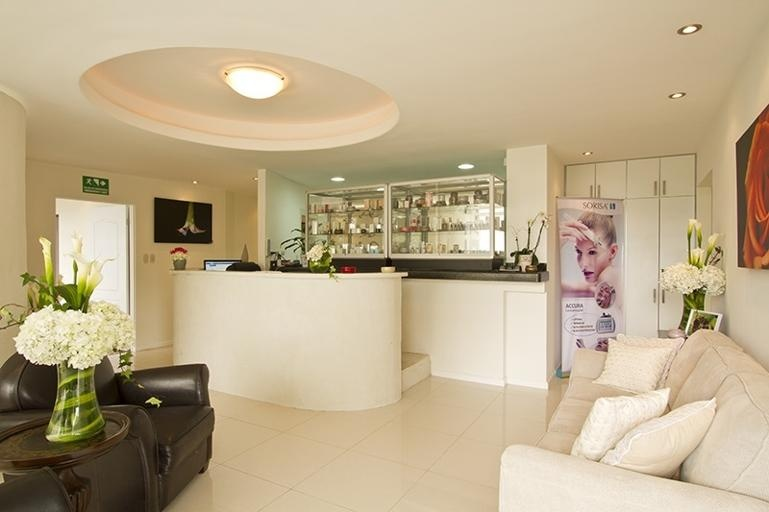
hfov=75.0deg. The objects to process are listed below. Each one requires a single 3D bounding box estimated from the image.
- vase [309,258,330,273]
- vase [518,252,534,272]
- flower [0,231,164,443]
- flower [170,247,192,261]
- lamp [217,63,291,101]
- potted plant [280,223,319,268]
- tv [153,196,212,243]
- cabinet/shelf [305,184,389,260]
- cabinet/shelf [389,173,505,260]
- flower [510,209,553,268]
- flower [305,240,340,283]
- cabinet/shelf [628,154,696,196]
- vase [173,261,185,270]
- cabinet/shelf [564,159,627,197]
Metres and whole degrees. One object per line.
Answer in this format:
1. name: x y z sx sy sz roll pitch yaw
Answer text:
1. vase: -0.730 0.111 5.597 0.161 0.105 0.170 1 -6 -10
2. vase: 1.783 0.082 6.331 0.199 0.216 0.198 0 -2 -8
3. flower: -2.061 0.513 3.298 0.844 1.287 0.638 10 15 43
4. flower: -3.139 -0.034 7.629 0.255 0.107 0.253 2 -2 -12
5. lamp: -1.367 -1.741 5.253 0.657 0.178 0.663 5 -7 -36
6. potted plant: -1.486 -0.203 8.474 0.784 0.775 0.768 -1 3 -44
7. tv: -3.543 -0.627 8.636 0.057 0.602 0.859 3 3 37
8. cabinet/shelf: -0.563 -0.526 7.944 1.291 0.986 0.455 1 0 27
9. cabinet/shelf: 0.925 -0.545 7.247 1.290 0.902 0.474 0 2 31
10. flower: 1.813 -0.211 6.499 0.530 0.737 0.608 6 12 28
11. flower: -0.623 0.052 5.616 0.456 0.459 0.420 -3 1 1
12. cabinet/shelf: 3.974 -0.944 7.162 0.875 0.612 0.512 1 2 33
13. vase: -2.744 0.121 6.684 0.140 0.107 0.125 -6 10 -43
14. cabinet/shelf: 3.108 -1.136 7.293 0.549 0.478 0.214 1 1 31
